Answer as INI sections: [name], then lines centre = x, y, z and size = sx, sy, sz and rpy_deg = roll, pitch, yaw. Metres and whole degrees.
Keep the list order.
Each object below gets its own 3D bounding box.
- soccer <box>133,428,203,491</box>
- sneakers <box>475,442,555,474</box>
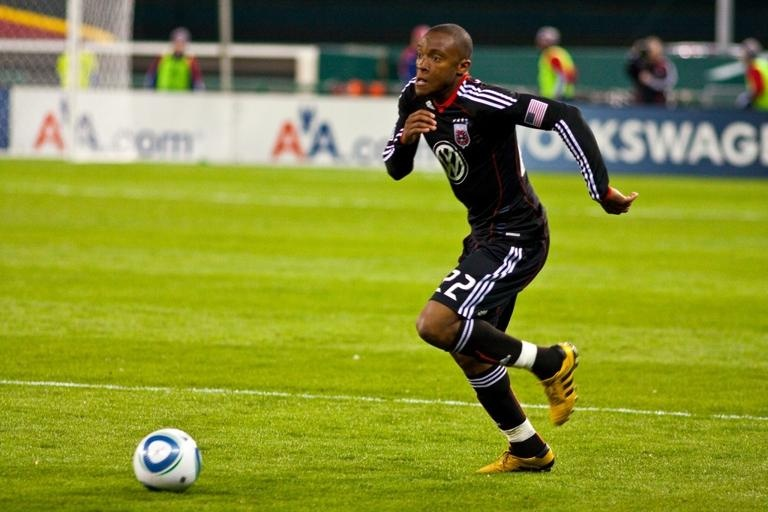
[soccer]
centre = -1.704, 1.600, 10.948
size = 0.521, 0.460, 0.196
rpy_deg = 3, 9, -8
[sneakers]
centre = 1.080, 1.659, 11.380
size = 0.689, 0.232, 0.227
rpy_deg = 0, -5, 0
